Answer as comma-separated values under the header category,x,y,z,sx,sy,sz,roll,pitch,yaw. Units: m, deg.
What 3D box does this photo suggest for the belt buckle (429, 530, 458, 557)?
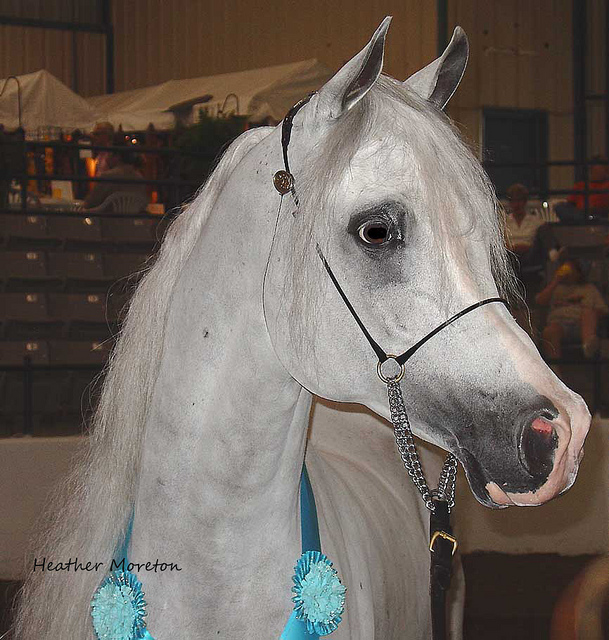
category,x,y,z,sx,sy,sz,roll,pitch,yaw
belt buckle,0.422,0.666,4.661,0.082,0.085,0.076,0,2,5

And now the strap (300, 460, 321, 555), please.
category,x,y,z,sx,sy,sz,roll,pitch,yaw
strap,0.018,0.577,4.801,0.056,0.274,0.051,-2,6,28

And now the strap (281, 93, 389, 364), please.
category,x,y,z,sx,sy,sz,roll,pitch,yaw
strap,0.067,-0.282,4.732,0.247,0.845,0.114,-22,1,14
